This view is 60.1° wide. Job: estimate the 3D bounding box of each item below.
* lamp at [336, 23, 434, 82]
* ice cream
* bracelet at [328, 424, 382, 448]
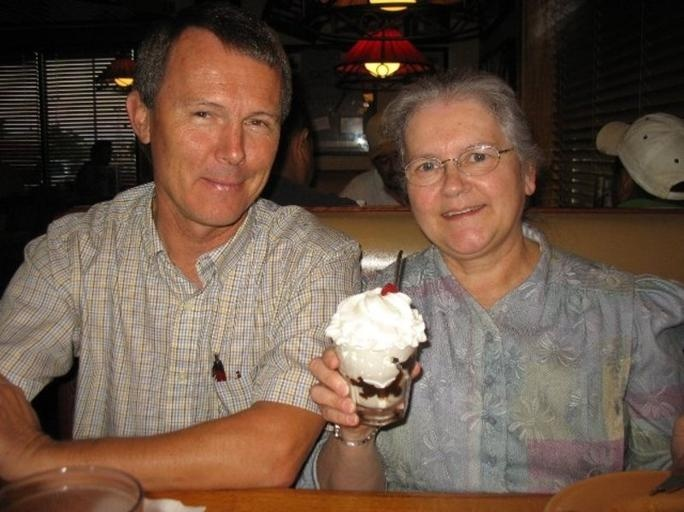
[{"bbox_3d":[0.327,-1.594,4.697,0.745,0.385,0.757,-7,12,-43],"label":"lamp"},{"bbox_3d":[0.117,0.292,1.835,0.327,0.345,0.350,-3,11,1],"label":"ice cream"},{"bbox_3d":[0.034,0.588,1.983,0.112,0.029,0.089,3,2,11],"label":"bracelet"}]
